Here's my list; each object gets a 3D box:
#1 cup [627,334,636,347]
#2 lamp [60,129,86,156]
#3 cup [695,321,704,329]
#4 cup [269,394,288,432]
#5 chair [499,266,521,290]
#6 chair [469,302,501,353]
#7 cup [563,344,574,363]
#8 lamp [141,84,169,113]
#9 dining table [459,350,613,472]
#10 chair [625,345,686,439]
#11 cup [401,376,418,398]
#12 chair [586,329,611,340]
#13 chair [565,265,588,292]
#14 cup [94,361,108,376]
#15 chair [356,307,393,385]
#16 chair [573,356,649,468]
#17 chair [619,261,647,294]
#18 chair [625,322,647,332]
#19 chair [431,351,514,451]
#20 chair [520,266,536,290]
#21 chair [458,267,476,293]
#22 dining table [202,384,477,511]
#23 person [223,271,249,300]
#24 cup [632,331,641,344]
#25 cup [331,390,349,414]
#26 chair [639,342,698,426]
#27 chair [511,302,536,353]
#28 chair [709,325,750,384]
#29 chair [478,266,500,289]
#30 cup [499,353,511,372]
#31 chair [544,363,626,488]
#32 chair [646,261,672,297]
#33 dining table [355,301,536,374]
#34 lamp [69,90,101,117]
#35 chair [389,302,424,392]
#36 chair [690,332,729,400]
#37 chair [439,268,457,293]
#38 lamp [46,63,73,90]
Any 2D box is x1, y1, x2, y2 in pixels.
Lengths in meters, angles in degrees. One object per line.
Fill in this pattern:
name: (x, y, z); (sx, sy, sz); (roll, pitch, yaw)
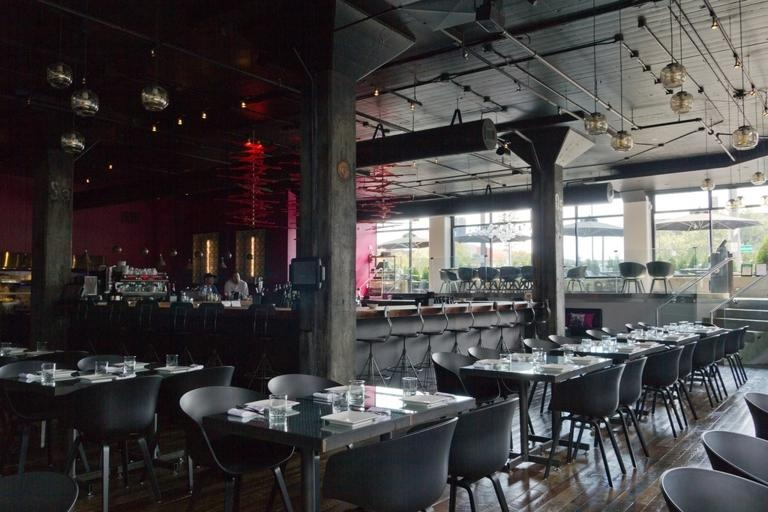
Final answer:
cup: (4.164, 1.433, 10.602); (0.103, 0.189, 0.191); (-1, -3, 18)
lamp: (-5.000, -1.871, 10.114); (0.298, 0.345, 0.395); (1, -4, -19)
cup: (6.969, 1.532, 13.933); (0.197, 0.213, 0.198); (1, -3, 0)
cup: (-1.038, 1.556, 6.139); (0.242, 0.382, 0.236); (0, -9, 0)
chair: (3.806, 0.657, 18.849); (0.656, 0.794, 0.588); (1, 3, 38)
chair: (2.074, 1.606, 13.365); (0.632, 1.138, 0.625); (0, 6, 3)
cup: (2.580, 1.376, 8.832); (0.177, 0.280, 0.177); (0, -2, 0)
lamp: (-3.435, -2.418, 9.420); (0.321, 0.456, 0.505); (1, -4, -19)
dining table: (2.132, 2.131, 8.568); (1.181, 1.156, 2.272); (-6, -8, 36)
chair: (3.985, 1.927, 9.523); (0.945, 1.266, 0.959); (3, 4, -2)
cup: (0.287, 1.406, 6.784); (0.202, 0.200, 0.176); (0, 2, -21)
chair: (4.113, 1.511, 12.078); (0.385, 0.175, 0.387); (-1, -1, 1)
chair: (5.709, 0.669, 18.405); (0.651, 0.883, 0.696); (5, -7, -30)
cup: (-3.585, 1.427, 7.942); (0.148, 0.157, 0.188); (-2, -8, 32)
chair: (-0.112, 1.574, 10.903); (0.921, 1.294, 0.481); (2, -5, -39)
chair: (3.162, 2.014, 8.551); (0.927, 1.229, 0.983); (-3, -5, 18)
chair: (7.158, 0.585, 17.540); (0.779, 1.021, 0.755); (0, 0, 31)
chair: (5.477, 1.560, 13.768); (0.463, 0.195, 0.438); (-3, -2, 7)
chair: (1.569, 2.028, 8.956); (0.767, 0.950, 0.816); (-14, -8, 36)
chair: (4.107, 0.617, 18.231); (0.336, 0.637, 0.168); (-3, -4, 27)
chair: (2.888, 0.775, 20.121); (0.714, 0.844, 0.676); (1, 2, 37)
dining table: (-0.459, 1.927, 6.316); (0.887, 0.743, 1.557); (-3, -5, 37)
person: (-3.781, 0.767, 16.118); (0.669, 1.179, 0.643); (1, -6, -14)
cup: (4.563, 1.471, 11.393); (0.200, 0.229, 0.203); (1, 2, 0)
cup: (-0.462, 1.538, 6.603); (0.176, 0.176, 0.135); (6, -8, -33)
chair: (4.150, 1.902, 9.424); (0.891, 1.090, 0.822); (2, -3, -43)
chair: (3.146, 1.660, 14.532); (0.441, 1.000, 0.485); (3, 0, 2)
chair: (6.926, 1.968, 12.680); (0.726, 1.044, 0.843); (-1, -2, 36)
chair: (3.215, 0.682, 19.519); (0.593, 0.724, 0.589); (1, 2, 43)
cup: (1.596, 1.410, 8.288); (0.133, 0.243, 0.134); (2, -1, 0)
chair: (2.639, 2.138, 8.237); (0.968, 1.481, 1.302); (-2, -4, 20)
chair: (7.483, 0.560, 17.083); (0.766, 1.013, 0.779); (-1, 0, 33)
dining table: (1.312, 1.459, 12.471); (4.110, 0.952, 0.609); (-3, -17, -17)
lamp: (-4.365, -2.284, 9.178); (0.310, 0.403, 0.383); (1, -4, -19)
chair: (0.351, 1.599, 11.509); (0.665, 1.475, 0.666); (0, 6, 12)
chair: (5.687, 1.941, 11.122); (0.646, 0.898, 0.733); (-8, -2, 43)
chair: (2.107, 0.819, 20.556); (0.656, 0.907, 0.781); (-4, -4, 32)
lamp: (-4.670, -2.646, 9.047); (0.284, 0.397, 0.400); (1, -5, -23)
